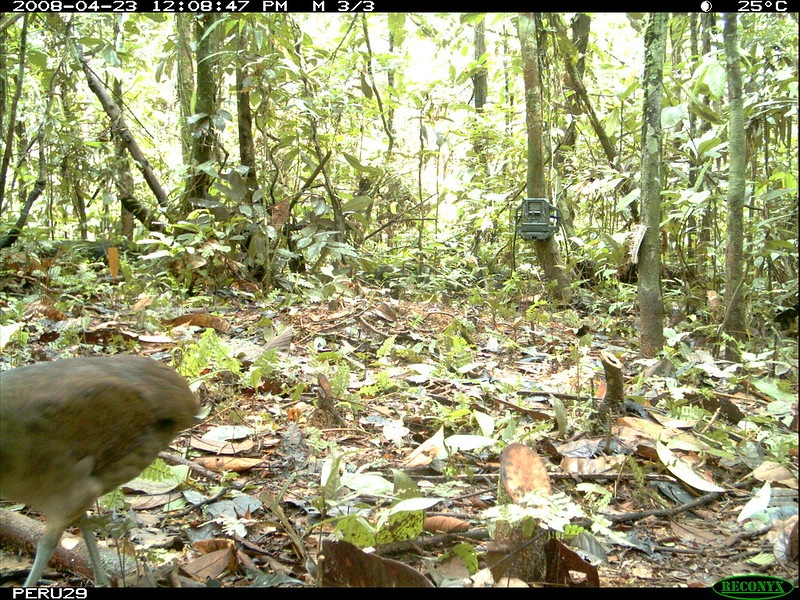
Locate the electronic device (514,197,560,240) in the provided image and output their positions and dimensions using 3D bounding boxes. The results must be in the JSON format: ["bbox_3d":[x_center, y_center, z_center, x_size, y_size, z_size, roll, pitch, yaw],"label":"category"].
[{"bbox_3d":[1.048,-0.621,5.118,0.314,0.299,0.259,2,3,8],"label":"electronic device"}]
